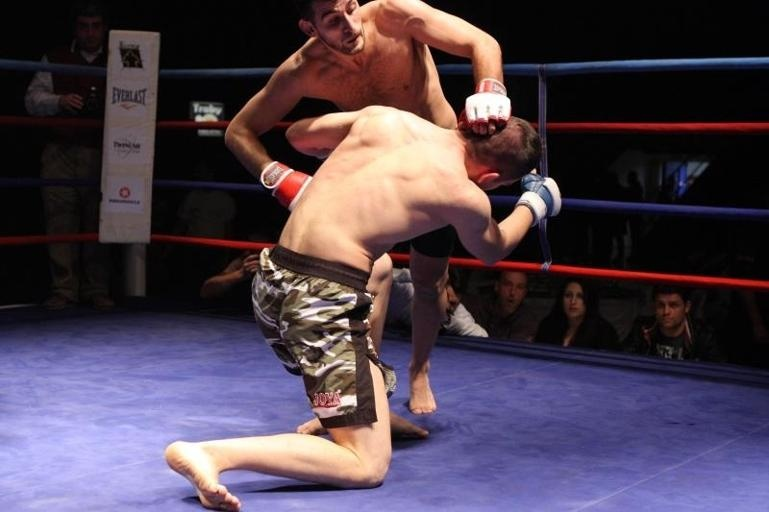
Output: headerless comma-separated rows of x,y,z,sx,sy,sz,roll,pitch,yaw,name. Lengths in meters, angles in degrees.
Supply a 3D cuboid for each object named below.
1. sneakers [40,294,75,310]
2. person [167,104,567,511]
-1.927,0.279,3.920,0.176,0.061,0.074,-1,5,-6,sneakers
-0.116,-0.018,2.215,1.438,1.007,0.869,-8,31,-41,person
